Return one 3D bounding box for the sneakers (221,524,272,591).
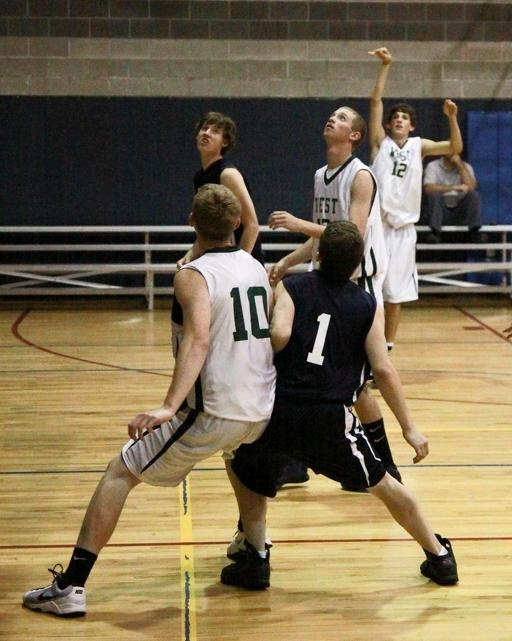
[{"bbox_3d":[-0.016,0.759,3.201,0.210,0.205,0.098,12,11,39],"label":"sneakers"}]

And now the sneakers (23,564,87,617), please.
[{"bbox_3d":[-0.599,0.796,2.958,0.211,0.146,0.074,2,-6,26],"label":"sneakers"}]

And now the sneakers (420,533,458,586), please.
[{"bbox_3d":[0.583,0.754,3.189,0.070,0.136,0.197,-8,17,-11],"label":"sneakers"}]

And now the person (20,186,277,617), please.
[{"bbox_3d":[-0.269,0.241,2.916,0.697,1.249,0.413,-2,10,-13],"label":"person"}]
